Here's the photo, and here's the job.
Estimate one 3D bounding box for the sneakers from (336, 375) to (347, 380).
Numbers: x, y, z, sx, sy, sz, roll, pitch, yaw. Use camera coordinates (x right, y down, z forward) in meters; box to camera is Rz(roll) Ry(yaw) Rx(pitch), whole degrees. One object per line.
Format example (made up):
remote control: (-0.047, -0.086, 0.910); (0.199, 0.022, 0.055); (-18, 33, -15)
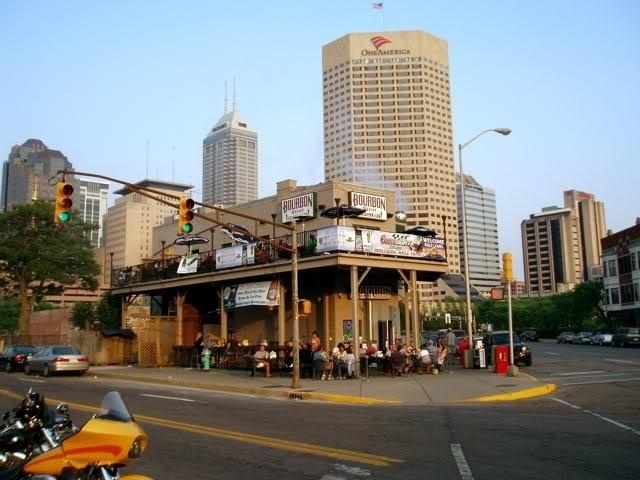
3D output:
sneakers: (0.942, 5.945, 26.622); (0.151, 0.192, 0.456); (2, -17, -20)

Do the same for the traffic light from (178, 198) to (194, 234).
traffic light: (-4.346, -0.700, 20.017); (0.519, 1.197, 2.010); (0, -11, -12)

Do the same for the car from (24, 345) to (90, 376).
car: (-13.291, 6.090, 31.067); (3.182, 1.458, 1.518); (-9, -13, 33)

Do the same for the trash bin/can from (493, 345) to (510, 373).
trash bin/can: (8.080, 5.353, 27.519); (0.643, 1.200, 1.134); (-5, -11, 14)

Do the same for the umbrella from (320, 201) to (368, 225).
umbrella: (1.173, -1.239, 29.777); (1.713, 0.910, 1.570); (5, -13, -35)
